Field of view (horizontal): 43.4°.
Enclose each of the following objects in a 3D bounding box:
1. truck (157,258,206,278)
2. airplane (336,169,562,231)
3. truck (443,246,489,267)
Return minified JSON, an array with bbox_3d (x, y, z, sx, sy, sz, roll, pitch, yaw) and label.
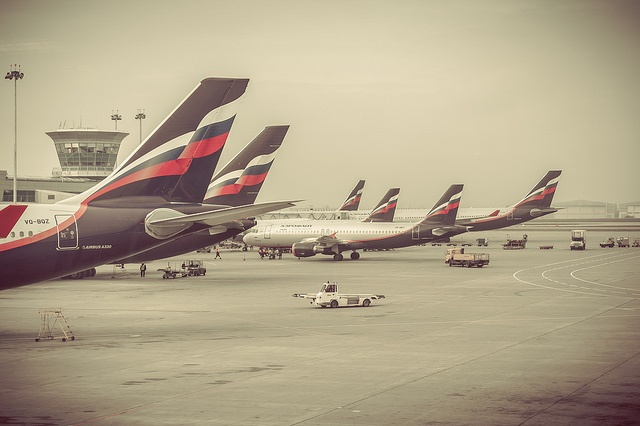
[{"bbox_3d":[-11.022,4.515,63.680,3.723,0.744,1.564,-1,1,3],"label":"truck"},{"bbox_3d":[20.618,-0.465,109.748,21.831,3.667,12.955,1,2,11],"label":"airplane"},{"bbox_3d":[12.884,3.992,70.669,2.093,0.878,3.219,1,0,-44],"label":"truck"}]
